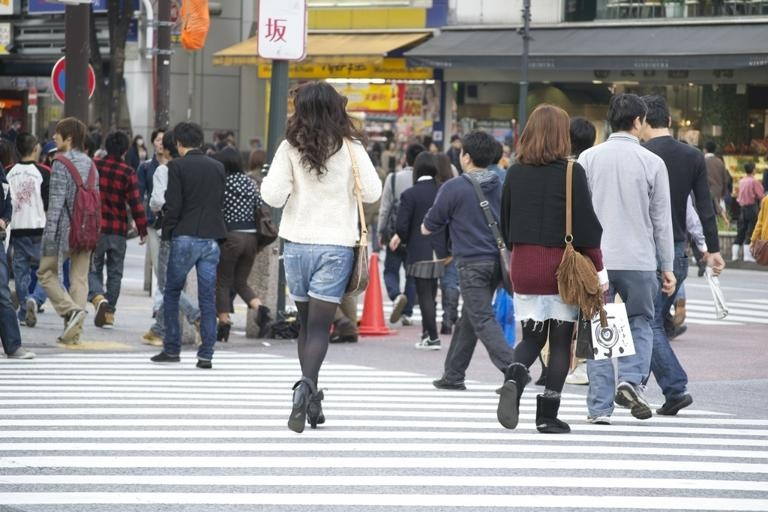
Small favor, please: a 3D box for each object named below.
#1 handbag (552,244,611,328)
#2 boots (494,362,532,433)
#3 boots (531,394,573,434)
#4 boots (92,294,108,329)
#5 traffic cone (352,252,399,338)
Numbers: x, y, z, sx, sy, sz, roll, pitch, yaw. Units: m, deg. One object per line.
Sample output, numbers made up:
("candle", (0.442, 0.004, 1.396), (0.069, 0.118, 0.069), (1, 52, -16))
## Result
("handbag", (1.875, 0.274, 11.836), (0.364, 0.768, 0.520), (0, -1, 4))
("boots", (1.226, 1.356, 11.993), (0.314, 0.608, 0.386), (0, -2, 2))
("boots", (1.664, 1.546, 12.244), (0.394, 0.379, 0.229), (6, -6, -41))
("boots", (-3.673, 0.765, 16.303), (0.165, 0.508, 0.213), (-15, 35, -32))
("traffic cone", (-0.155, 0.511, 17.062), (0.463, 1.124, 0.441), (2, 0, 3))
